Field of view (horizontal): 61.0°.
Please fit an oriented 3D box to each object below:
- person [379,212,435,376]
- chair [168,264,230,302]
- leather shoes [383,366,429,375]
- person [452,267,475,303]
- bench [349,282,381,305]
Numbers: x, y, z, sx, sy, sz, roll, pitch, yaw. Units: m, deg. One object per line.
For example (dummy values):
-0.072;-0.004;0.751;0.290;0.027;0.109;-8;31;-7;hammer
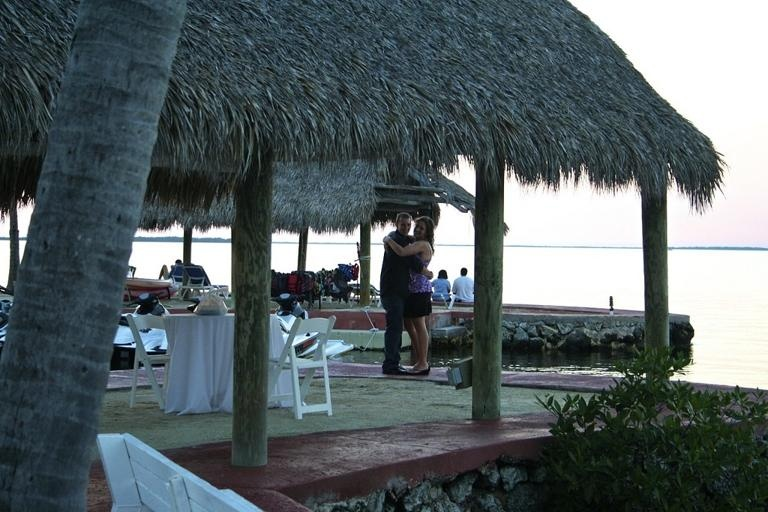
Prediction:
0.324;0.540;8.865;0.721;2.189;0.933;-1;-4;4;person
-6.609;0.958;23.183;0.975;1.055;1.708;4;11;3;chair
0.304;1.601;9.083;0.601;0.173;0.224;5;-6;-10;leather shoes
2.406;0.921;20.092;0.601;1.088;1.001;-1;-4;5;person
-0.610;1.200;20.709;0.987;0.795;2.668;0;-4;-1;bench
